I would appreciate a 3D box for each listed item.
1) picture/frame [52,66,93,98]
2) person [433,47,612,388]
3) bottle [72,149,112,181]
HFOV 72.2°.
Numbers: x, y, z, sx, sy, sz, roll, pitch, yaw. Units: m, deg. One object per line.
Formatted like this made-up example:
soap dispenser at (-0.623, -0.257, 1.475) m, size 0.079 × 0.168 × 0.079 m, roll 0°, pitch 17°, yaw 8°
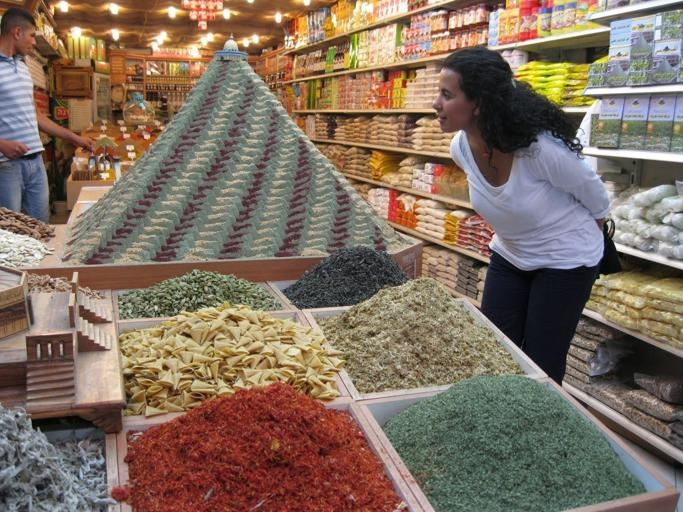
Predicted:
picture/frame at (-5.051, -3.262, 8.802) m, size 0.642 × 0.512 × 0.311 m, roll 1°, pitch 13°, yaw -9°
person at (0.725, -0.145, 1.973) m, size 0.675 × 1.350 × 0.317 m, roll 10°, pitch 19°, yaw 27°
bottle at (-3.076, -1.085, 5.780) m, size 0.495 × 0.198 × 0.649 m, roll -4°, pitch 25°, yaw -22°
